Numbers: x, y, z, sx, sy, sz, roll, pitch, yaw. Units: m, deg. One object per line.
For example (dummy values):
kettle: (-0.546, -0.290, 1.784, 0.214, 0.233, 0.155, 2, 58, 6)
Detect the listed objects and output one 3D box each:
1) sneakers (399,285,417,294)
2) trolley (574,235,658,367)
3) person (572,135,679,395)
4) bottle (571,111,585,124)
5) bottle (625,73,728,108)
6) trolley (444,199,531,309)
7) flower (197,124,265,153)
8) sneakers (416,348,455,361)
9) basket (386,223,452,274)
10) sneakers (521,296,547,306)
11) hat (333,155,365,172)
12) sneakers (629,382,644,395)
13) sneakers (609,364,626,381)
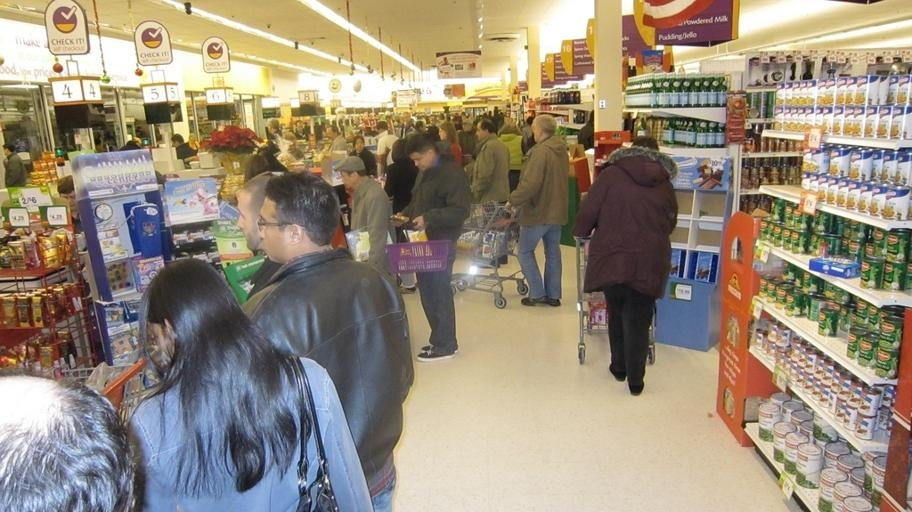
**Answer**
sneakers: (-0.711, 0.491, 8.491, 0.267, 0.110, 0.086, 5, 7, -2)
trolley: (1.809, 0.513, 6.630, 1.087, 1.406, 0.850, -1, -9, 15)
person: (1.623, 0.138, 5.637, 0.950, 2.333, 0.633, 1, 15, 12)
bottle: (2.757, -3.139, 13.130, 0.367, 0.321, 0.083, -3, 1, -16)
bottle: (2.417, -1.875, 6.571, 0.452, 0.397, 1.183, -15, 19, -40)
trolley: (0.320, -0.079, 7.936, 1.441, 1.272, 0.821, -2, 8, 26)
flower: (-2.538, -1.287, 6.572, 0.467, 0.288, 0.417, -1, 4, -14)
sneakers: (-0.241, 1.100, 6.516, 0.411, 0.151, 0.145, 2, 6, -2)
basket: (-0.364, -0.065, 5.660, 0.557, 0.241, 0.389, -4, 2, -15)
sneakers: (1.012, 0.599, 7.757, 0.290, 0.113, 0.120, 3, 9, 10)
hat: (-1.110, -0.955, 5.965, 0.235, 0.082, 0.176, 4, 18, 12)
sneakers: (1.737, 1.286, 5.676, 0.133, 0.113, 0.127, -4, 19, -16)
sneakers: (1.628, 1.170, 5.884, 0.105, 0.194, 0.083, -25, 27, -4)
